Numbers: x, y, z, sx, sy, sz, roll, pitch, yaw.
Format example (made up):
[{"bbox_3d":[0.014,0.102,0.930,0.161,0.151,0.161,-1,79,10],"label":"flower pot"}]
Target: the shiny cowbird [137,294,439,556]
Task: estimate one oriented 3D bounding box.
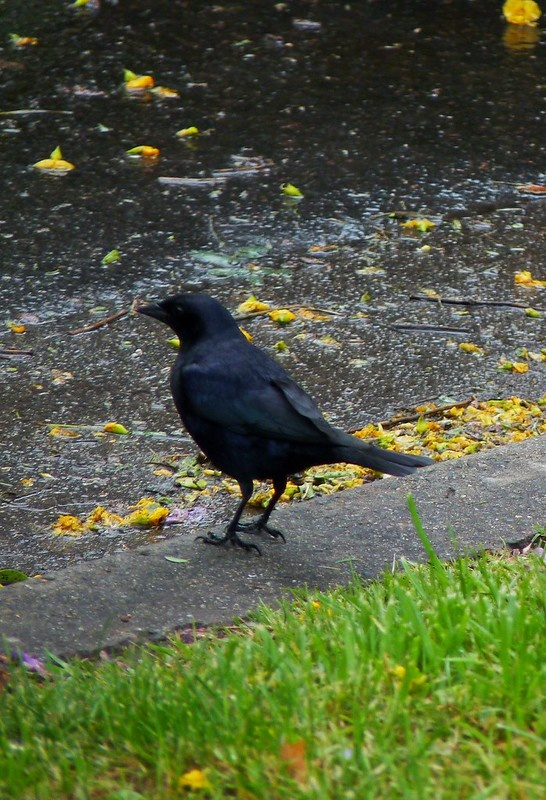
[{"bbox_3d":[0.036,0.046,2.927,1.034,0.705,0.403,8,9,27],"label":"shiny cowbird"}]
